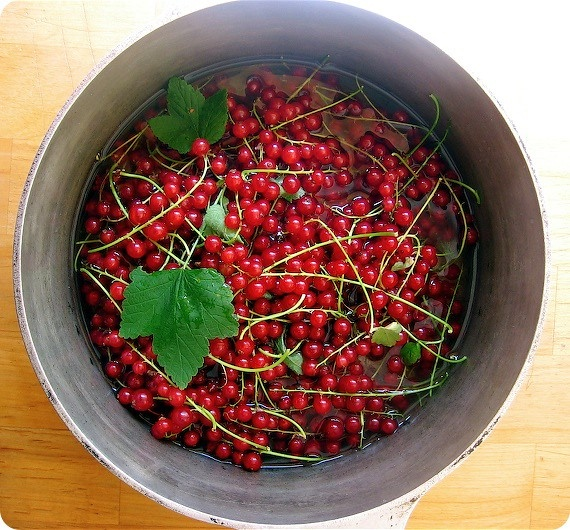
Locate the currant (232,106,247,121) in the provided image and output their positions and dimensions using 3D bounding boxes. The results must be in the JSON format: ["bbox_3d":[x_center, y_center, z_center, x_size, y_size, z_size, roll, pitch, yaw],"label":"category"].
[{"bbox_3d":[-0.093,-0.314,1.356,0.027,0.024,0.027,23,99,-11],"label":"currant"}]

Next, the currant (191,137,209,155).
[{"bbox_3d":[-0.163,-0.233,1.288,0.038,0.033,0.035,9,100,2],"label":"currant"}]

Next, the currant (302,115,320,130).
[{"bbox_3d":[0.050,-0.300,1.378,0.035,0.030,0.032,2,113,-1],"label":"currant"}]

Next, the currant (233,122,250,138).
[{"bbox_3d":[-0.087,-0.272,1.327,0.037,0.033,0.034,-2,96,-1],"label":"currant"}]

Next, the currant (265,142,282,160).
[{"bbox_3d":[-0.022,-0.229,1.313,0.040,0.035,0.037,7,93,0],"label":"currant"}]

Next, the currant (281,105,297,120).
[{"bbox_3d":[0.009,-0.312,1.344,0.036,0.031,0.031,2,99,2],"label":"currant"}]

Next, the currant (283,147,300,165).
[{"bbox_3d":[0.011,-0.218,1.304,0.040,0.035,0.036,0,103,6],"label":"currant"}]
